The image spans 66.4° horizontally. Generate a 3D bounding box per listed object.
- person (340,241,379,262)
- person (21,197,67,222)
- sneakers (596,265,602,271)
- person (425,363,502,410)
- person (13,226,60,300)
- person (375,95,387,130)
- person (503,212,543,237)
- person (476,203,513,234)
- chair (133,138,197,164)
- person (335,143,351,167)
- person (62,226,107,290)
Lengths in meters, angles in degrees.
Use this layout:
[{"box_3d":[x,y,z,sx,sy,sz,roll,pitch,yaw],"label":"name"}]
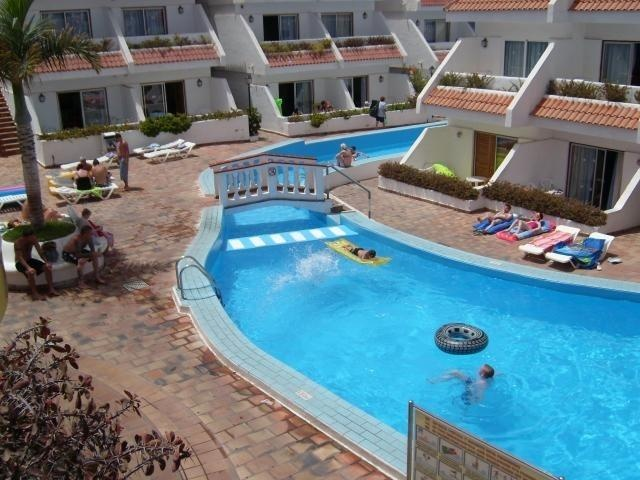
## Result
[{"box_3d":[1.340,0.430,17.791,0.579,0.400,1.224,-9,26,-32],"label":"person"},{"box_3d":[-9.639,-1.039,17.102,1.441,0.751,0.937,10,7,-13],"label":"person"},{"box_3d":[8.908,0.908,15.605,0.110,0.079,0.199,2,22,20],"label":"sneakers"},{"box_3d":[3.650,3.500,11.819,1.119,0.454,0.949,-7,21,-6],"label":"person"},{"box_3d":[-8.107,0.644,13.865,0.836,1.958,0.618,-13,20,-31],"label":"person"},{"box_3d":[4.283,-8.780,33.761,0.741,1.995,1.130,0,17,7],"label":"person"},{"box_3d":[7.684,-0.570,18.358,1.413,0.690,0.792,-5,9,-5],"label":"person"},{"box_3d":[6.758,-0.687,18.921,1.712,0.694,0.961,-23,24,-21],"label":"person"},{"box_3d":[-8.744,-5.081,27.852,2.824,1.035,2.068,-11,19,-27],"label":"chair"},{"box_3d":[1.306,-4.424,25.692,0.869,1.160,0.854,-2,17,2],"label":"person"},{"box_3d":[-7.112,0.472,14.653,0.938,1.738,0.843,-11,19,-26],"label":"person"}]
